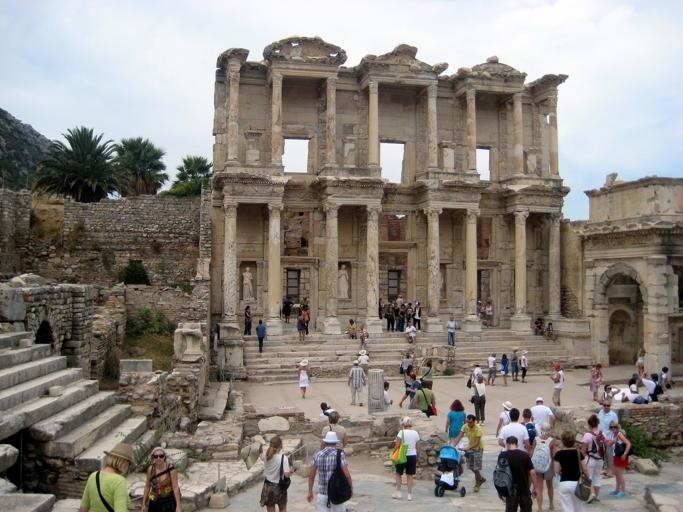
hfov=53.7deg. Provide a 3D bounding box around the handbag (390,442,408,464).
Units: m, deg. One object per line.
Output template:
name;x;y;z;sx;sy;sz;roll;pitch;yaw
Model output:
handbag;1.238;4.178;14.238;0.359;0.491;0.168;-3;-7;38

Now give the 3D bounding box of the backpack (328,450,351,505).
backpack;-0.031;4.076;12.356;0.441;0.945;0.271;1;-6;9

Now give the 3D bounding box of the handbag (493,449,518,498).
handbag;3.071;4.098;12.612;0.371;0.868;0.263;-3;-7;43

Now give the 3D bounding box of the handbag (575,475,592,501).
handbag;4.643;4.444;12.889;0.234;0.482;0.272;-2;-7;36

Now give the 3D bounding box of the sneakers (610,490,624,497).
sneakers;6.355;5.431;15.415;0.241;0.109;0.133;-1;-6;26

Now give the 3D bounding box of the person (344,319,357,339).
person;0.488;3.216;29.899;0.479;0.853;0.794;2;-6;0

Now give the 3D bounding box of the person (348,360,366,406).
person;0.527;4.244;22.561;0.483;1.339;1.346;2;-6;2

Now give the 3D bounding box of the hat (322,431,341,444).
hat;-0.189;3.562;13.213;0.453;0.206;0.531;2;-14;1

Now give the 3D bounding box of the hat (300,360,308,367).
hat;-1.221;3.580;22.521;0.209;0.216;0.458;3;-6;-7

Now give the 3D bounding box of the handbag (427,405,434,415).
handbag;2.461;4.248;18.493;0.172;0.307;0.240;2;-6;-2

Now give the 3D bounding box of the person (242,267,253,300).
person;-4.303;1.301;31.396;0.511;1.636;0.508;3;-6;-8

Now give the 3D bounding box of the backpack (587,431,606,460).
backpack;5.520;4.090;14.487;0.375;0.591;0.158;4;-6;-22

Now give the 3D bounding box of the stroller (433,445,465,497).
stroller;2.442;4.723;14.945;0.727;1.069;0.775;2;-6;2

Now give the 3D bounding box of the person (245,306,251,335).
person;-4.199;2.849;30.377;0.372;1.326;1.858;3;-6;-8

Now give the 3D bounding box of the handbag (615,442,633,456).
handbag;6.536;4.500;15.670;0.263;0.281;0.199;1;-6;3

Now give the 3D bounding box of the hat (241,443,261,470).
hat;-1.859;4.174;14.093;0.363;0.480;0.568;3;-6;-13

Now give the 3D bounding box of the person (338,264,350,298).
person;0.166;1.224;32.318;0.420;1.737;0.911;-1;-6;28
